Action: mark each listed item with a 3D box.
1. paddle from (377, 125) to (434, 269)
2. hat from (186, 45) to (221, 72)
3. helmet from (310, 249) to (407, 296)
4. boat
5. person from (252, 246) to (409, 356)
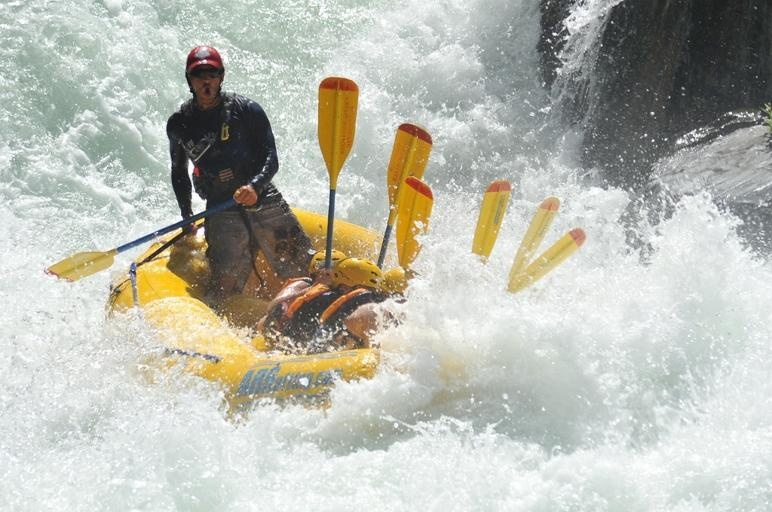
[{"bbox_3d":[0.117,-0.615,7.726,0.354,0.116,1.499,16,92,2],"label":"paddle"},{"bbox_3d":[-1.573,-1.728,7.463,0.293,0.164,0.375,-5,56,-11],"label":"hat"},{"bbox_3d":[-0.203,0.153,7.221,0.568,0.397,0.193,5,93,32],"label":"helmet"},{"bbox_3d":[-1.330,0.638,7.167,2.177,0.639,1.668,19,45,11],"label":"boat"},{"bbox_3d":[-0.467,0.434,7.165,1.053,0.424,0.737,-14,81,10],"label":"person"}]
